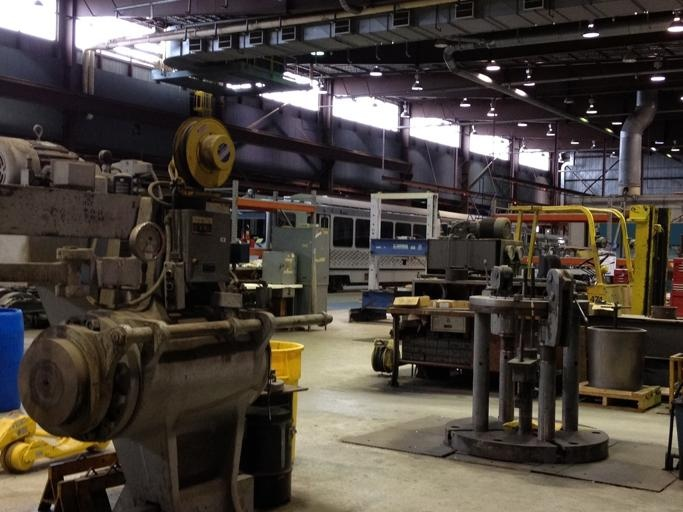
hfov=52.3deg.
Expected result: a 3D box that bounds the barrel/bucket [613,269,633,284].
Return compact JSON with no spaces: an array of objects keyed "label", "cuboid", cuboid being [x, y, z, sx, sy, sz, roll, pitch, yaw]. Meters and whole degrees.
[{"label":"barrel/bucket","cuboid":[5.589,0.400,13.846,0.248,0.167,0.238,0,-4,0]}]
